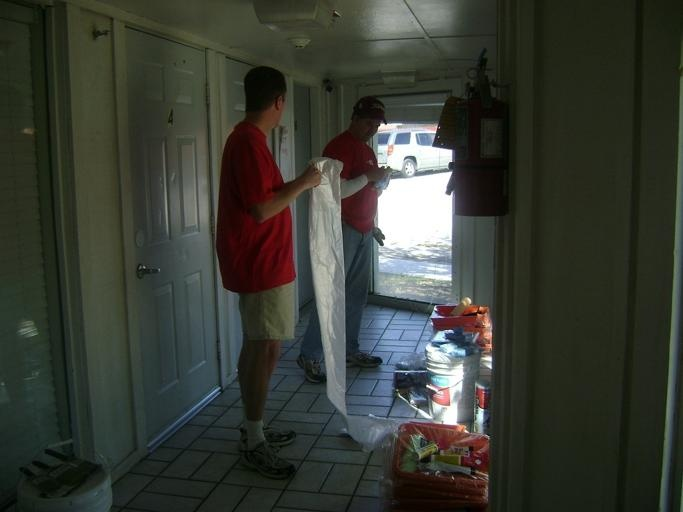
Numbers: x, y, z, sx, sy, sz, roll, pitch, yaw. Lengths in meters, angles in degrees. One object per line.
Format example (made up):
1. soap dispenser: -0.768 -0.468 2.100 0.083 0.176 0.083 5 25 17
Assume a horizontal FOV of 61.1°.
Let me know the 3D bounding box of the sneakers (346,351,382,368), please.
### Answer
1. sneakers: 0.163 0.759 4.278 0.274 0.125 0.102 -1 4 3

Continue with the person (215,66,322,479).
1. person: -0.421 0.070 2.988 0.470 2.024 0.425 4 11 24

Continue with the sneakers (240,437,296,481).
1. sneakers: -0.393 1.039 3.031 0.315 0.151 0.126 9 8 19

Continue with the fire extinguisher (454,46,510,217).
1. fire extinguisher: 0.494 -0.393 2.037 0.190 0.507 0.116 1 11 12

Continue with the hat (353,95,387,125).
1. hat: 0.187 -1.019 4.029 0.218 0.125 0.166 17 25 29

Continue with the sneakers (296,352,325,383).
1. sneakers: -0.204 0.779 4.069 0.102 0.135 0.269 -8 16 -44

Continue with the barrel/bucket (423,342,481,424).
1. barrel/bucket: 0.694 0.705 3.539 0.386 0.569 0.417 -1 4 0
